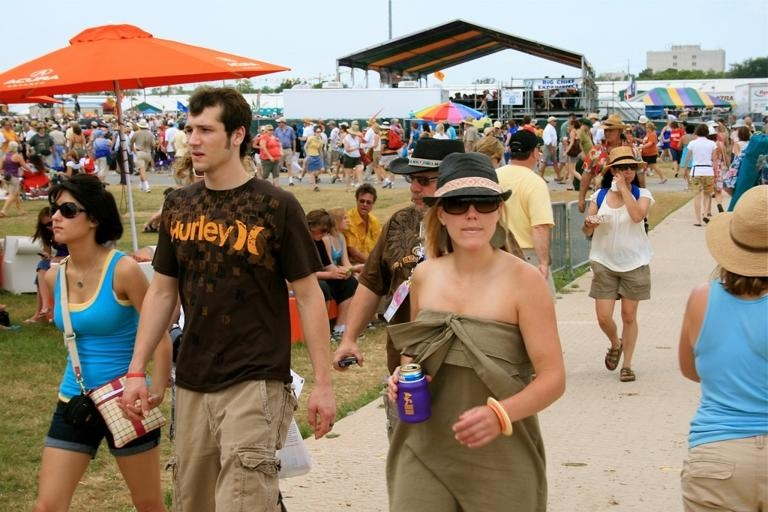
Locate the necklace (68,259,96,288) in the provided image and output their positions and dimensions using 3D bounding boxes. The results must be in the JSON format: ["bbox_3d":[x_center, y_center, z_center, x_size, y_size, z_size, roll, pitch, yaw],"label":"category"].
[{"bbox_3d":[-2.026,0.124,6.440,0.150,0.224,0.081,-4,-8,9],"label":"necklace"}]

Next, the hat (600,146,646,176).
[{"bbox_3d":[2.388,-0.917,9.389,0.273,0.149,0.258,0,-3,-16],"label":"hat"}]

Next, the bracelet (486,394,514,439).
[{"bbox_3d":[0.652,0.883,5.299,0.064,0.179,0.175,-23,32,5],"label":"bracelet"}]

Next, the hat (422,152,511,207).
[{"bbox_3d":[0.491,-0.448,5.595,0.298,0.213,0.389,-1,-7,-19],"label":"hat"}]

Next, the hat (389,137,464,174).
[{"bbox_3d":[0.340,-0.689,6.688,0.372,0.147,0.314,-6,1,-26],"label":"hat"}]

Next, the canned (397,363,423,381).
[{"bbox_3d":[0.155,0.660,5.475,0.096,0.098,0.099,-1,7,-1],"label":"canned"}]

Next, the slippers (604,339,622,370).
[{"bbox_3d":[2.274,0.999,9.557,0.118,0.352,0.127,5,-26,47],"label":"slippers"}]
